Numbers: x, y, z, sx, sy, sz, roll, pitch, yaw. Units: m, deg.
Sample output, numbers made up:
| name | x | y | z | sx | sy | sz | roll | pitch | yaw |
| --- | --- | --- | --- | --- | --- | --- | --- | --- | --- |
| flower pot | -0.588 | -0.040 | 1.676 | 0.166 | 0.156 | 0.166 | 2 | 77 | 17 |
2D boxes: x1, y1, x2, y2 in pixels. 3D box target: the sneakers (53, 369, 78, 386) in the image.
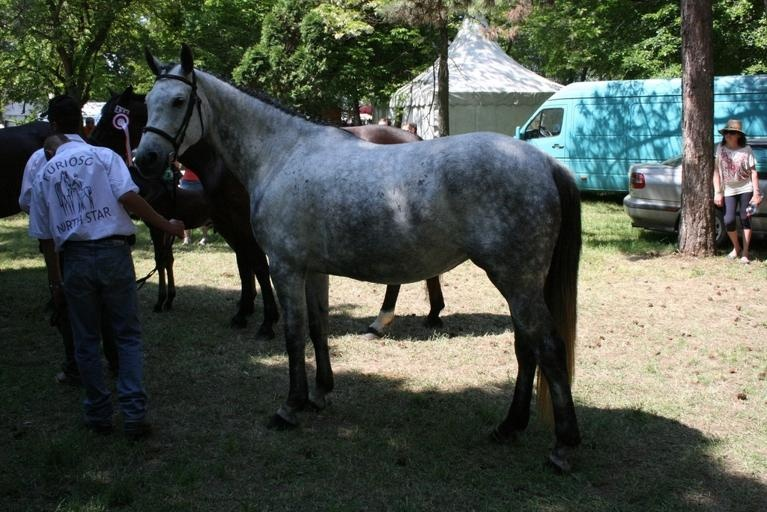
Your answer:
| name | x | y | z | sx | sy | sz | roll | pitch | yaw |
| --- | --- | --- | --- | --- | --- | --- | --- | --- | --- |
| sneakers | -3.542 | 1.379 | 7.897 | 0.266 | 0.119 | 0.125 | 4 | 1 | 9 |

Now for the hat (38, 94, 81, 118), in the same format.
| name | x | y | z | sx | sy | sz | roll | pitch | yaw |
| --- | --- | --- | --- | --- | --- | --- | --- | --- | --- |
| hat | -3.262 | -1.505 | 7.185 | 0.338 | 0.292 | 0.247 | -4 | 10 | -17 |

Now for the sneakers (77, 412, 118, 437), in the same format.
| name | x | y | z | sx | sy | sz | roll | pitch | yaw |
| --- | --- | --- | --- | --- | --- | --- | --- | --- | --- |
| sneakers | -2.870 | 1.645 | 7.101 | 0.305 | 0.228 | 0.181 | 3 | 5 | -1 |

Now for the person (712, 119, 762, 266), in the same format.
| name | x | y | z | sx | sy | sz | roll | pitch | yaw |
| --- | --- | --- | --- | --- | --- | --- | --- | --- | --- |
| person | 5.605 | -1.057 | 11.254 | 0.719 | 2.201 | 0.590 | 7 | 13 | 42 |

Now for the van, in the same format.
| name | x | y | z | sx | sy | sz | roll | pitch | yaw |
| --- | --- | --- | --- | --- | --- | --- | --- | --- | --- |
| van | 7.051 | -3.063 | 16.694 | 7.029 | 3.097 | 2.802 | 6 | 13 | 40 |

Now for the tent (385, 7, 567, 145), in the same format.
| name | x | y | z | sx | sy | sz | roll | pitch | yaw |
| --- | --- | --- | --- | --- | --- | --- | --- | --- | --- |
| tent | 2.775 | -5.148 | 21.832 | 4.852 | 3.971 | 5.023 | -2 | 15 | -3 |

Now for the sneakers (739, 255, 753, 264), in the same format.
| name | x | y | z | sx | sy | sz | roll | pitch | yaw |
| --- | --- | --- | --- | --- | --- | --- | --- | --- | --- |
| sneakers | 5.707 | 0.064 | 11.155 | 0.119 | 0.125 | 0.315 | -3 | -1 | 27 |

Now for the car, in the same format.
| name | x | y | z | sx | sy | sz | roll | pitch | yaw |
| --- | --- | --- | --- | --- | --- | --- | --- | --- | --- |
| car | 5.807 | -1.169 | 12.422 | 2.754 | 1.030 | 1.328 | -10 | 16 | 2 |
